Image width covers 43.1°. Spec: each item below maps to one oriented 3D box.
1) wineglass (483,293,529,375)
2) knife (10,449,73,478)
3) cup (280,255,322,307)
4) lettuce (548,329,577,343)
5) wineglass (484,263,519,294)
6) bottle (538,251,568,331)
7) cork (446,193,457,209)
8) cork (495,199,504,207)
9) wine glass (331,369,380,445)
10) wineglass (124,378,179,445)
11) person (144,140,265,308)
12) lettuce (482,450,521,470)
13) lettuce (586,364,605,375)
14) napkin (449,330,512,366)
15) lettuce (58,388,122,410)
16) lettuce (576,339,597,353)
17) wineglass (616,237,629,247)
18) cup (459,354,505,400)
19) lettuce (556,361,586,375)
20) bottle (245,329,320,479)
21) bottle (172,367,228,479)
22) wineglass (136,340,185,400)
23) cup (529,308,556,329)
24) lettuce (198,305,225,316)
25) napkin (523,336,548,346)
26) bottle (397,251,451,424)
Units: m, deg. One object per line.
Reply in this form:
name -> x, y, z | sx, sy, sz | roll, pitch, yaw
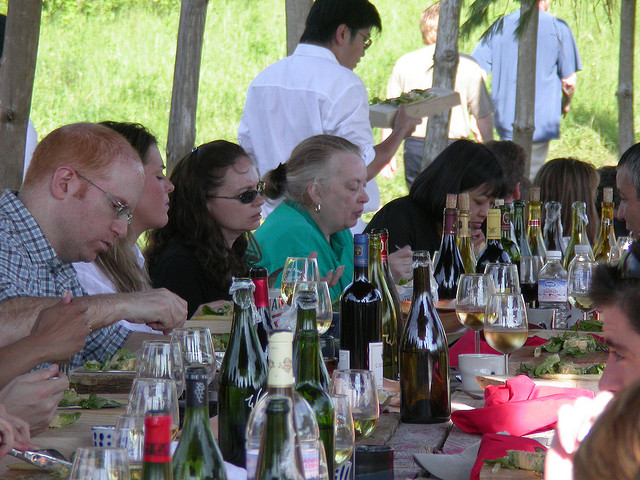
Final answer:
wineglass -> 0.623, 0.292, 2.700 | 0.137, 0.225, 0.140 | -4, -7, 27
knife -> -0.674, 0.543, 1.957 | 0.180, 0.062, 0.059 | -6, -8, 34
cup -> -0.063, 0.142, 2.801 | 0.155, 0.231, 0.158 | 0, -2, 0
lettuce -> 0.914, 0.366, 3.027 | 0.050, 0.021, 0.053 | -20, 21, -18
wineglass -> 0.745, 0.152, 3.280 | 0.118, 0.122, 0.124 | 0, 2, 4
bottle -> 1.103, 0.236, 3.820 | 0.136, 0.363, 0.301 | -3, -7, 15
cork -> 0.569, -0.169, 3.494 | 0.069, 0.076, 0.073 | 2, 4, 5
cork -> 1.016, -0.211, 4.557 | 0.044, 0.030, 0.046 | 0, 0, -1
wine glass -> 0.089, 0.421, 2.016 | 0.152, 0.223, 0.182 | 1, 3, -1
wineglass -> -0.368, 0.408, 1.798 | 0.121, 0.173, 0.135 | 1, -22, -11
person -> -0.575, -0.126, 4.481 | 0.563, 0.902, 0.891 | 11, 27, 21
lettuce -> 0.419, 0.510, 1.867 | 0.079, 0.040, 0.035 | -2, -6, 4
lettuce -> 0.878, 0.411, 2.560 | 0.072, 0.028, 0.035 | 3, -8, -35
napkin -> 0.578, 0.403, 3.040 | 0.157, 0.118, 0.149 | 0, -2, -5
lettuce -> -0.669, 0.474, 2.415 | 0.175, 0.056, 0.157 | -1, -7, -1
lettuce -> 0.966, 0.382, 2.912 | 0.044, 0.018, 0.049 | -2, 41, -2
wineglass -> 1.624, 0.011, 4.325 | 0.038, 0.040, 0.073 | -6, -41, -4
cup -> 0.520, 0.431, 2.564 | 0.131, 0.107, 0.119 | 1, -3, -8
lettuce -> 0.797, 0.398, 2.550 | 0.061, 0.027, 0.044 | 3, 26, 11
bottle -> -0.069, 0.327, 1.575 | 0.148, 0.294, 0.322 | -1, -7, -6
bottle -> -0.242, 0.367, 1.599 | 0.110, 0.230, 0.157 | -1, -6, -4
wineglass -> -0.403, 0.337, 2.072 | 0.123, 0.178, 0.128 | -1, 6, -24
cup -> 1.002, 0.353, 3.622 | 0.077, 0.092, 0.093 | 2, -2, 14
lettuce -> -0.467, 0.312, 3.538 | 0.073, 0.053, 0.023 | 17, -10, 9
napkin -> 0.855, 0.404, 3.203 | 0.053, 0.021, 0.052 | -10, 18, -33
bottle -> 0.293, 0.288, 2.344 | 0.136, 0.491, 0.173 | -3, -6, 18
